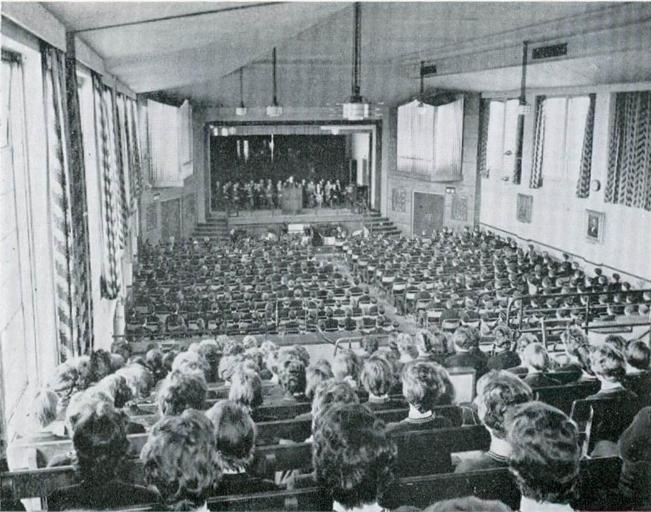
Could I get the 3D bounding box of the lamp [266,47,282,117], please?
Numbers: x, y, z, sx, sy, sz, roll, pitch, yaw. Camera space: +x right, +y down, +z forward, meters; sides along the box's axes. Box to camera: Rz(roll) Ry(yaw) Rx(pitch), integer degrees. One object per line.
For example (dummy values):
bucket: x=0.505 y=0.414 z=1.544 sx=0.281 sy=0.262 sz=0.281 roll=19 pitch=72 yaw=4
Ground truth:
lamp: x=-1.102 y=-3.593 z=12.320 sx=0.305 sy=1.410 sz=0.985 roll=-3 pitch=7 yaw=-4

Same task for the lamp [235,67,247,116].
lamp: x=-1.818 y=-3.489 z=12.735 sx=0.221 sy=0.993 sz=0.165 roll=0 pitch=8 yaw=16
